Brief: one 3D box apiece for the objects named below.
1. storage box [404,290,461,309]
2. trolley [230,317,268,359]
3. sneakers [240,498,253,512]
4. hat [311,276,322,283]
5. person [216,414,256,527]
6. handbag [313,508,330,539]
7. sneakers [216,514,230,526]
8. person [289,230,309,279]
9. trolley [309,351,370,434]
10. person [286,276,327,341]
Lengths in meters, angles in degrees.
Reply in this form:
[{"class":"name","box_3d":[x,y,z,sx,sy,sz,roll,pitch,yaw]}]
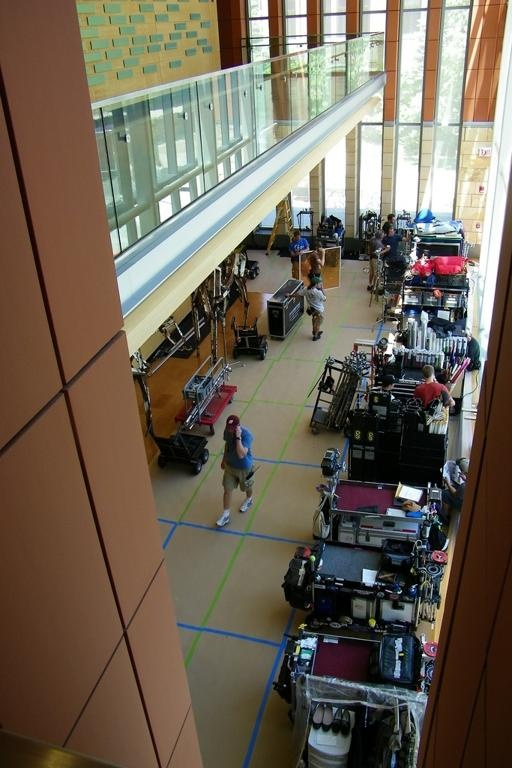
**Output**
[{"class":"storage box","box_3d":[3.992,-1.919,11.697,1.374,0.431,0.527,4,25,14]},{"class":"trolley","box_3d":[-0.106,-1.115,12.728,0.572,1.073,1.148,1,27,7]},{"class":"sneakers","box_3d":[-0.158,1.985,8.266,0.093,0.124,0.310,15,52,19]},{"class":"hat","box_3d":[1.435,-2.503,12.446,0.206,0.154,0.340,4,26,14]},{"class":"person","box_3d":[-0.347,1.217,7.819,0.585,2.067,1.079,-3,23,-3]},{"class":"handbag","box_3d":[0.895,2.017,7.238,0.148,0.232,0.579,-6,55,7]},{"class":"sneakers","box_3d":[-0.511,2.149,8.069,0.097,0.147,0.295,6,14,18]},{"class":"person","box_3d":[1.211,-3.736,14.801,0.458,1.271,0.886,0,24,5]},{"class":"trolley","box_3d":[1.660,0.317,10.167,0.757,1.493,0.991,13,7,38]},{"class":"person","box_3d":[1.363,-2.096,13.203,0.728,1.552,1.671,-7,25,-11]}]
